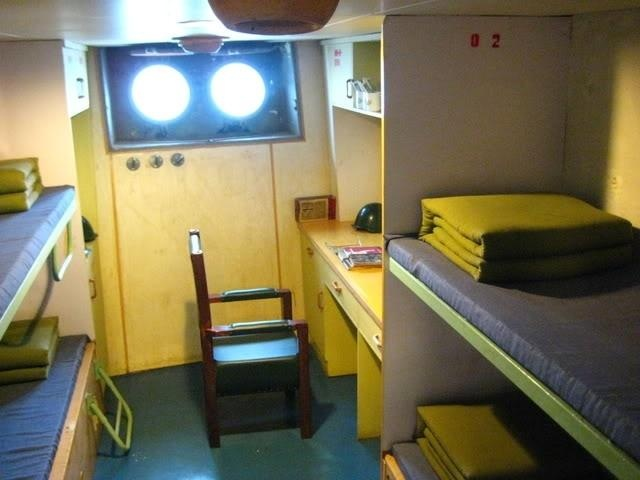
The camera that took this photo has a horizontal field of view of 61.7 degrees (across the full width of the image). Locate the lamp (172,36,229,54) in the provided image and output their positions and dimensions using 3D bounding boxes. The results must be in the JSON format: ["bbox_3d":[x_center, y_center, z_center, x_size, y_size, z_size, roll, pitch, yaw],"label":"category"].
[{"bbox_3d":[-0.625,-1.034,2.803,0.217,0.064,0.292,-7,15,-12],"label":"lamp"}]

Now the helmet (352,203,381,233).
[{"bbox_3d":[0.340,-0.160,3.685,0.152,0.172,0.215,17,34,31],"label":"helmet"}]

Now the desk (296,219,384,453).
[{"bbox_3d":[0.134,0.600,3.203,0.373,0.681,1.160,-1,24,-6],"label":"desk"}]
